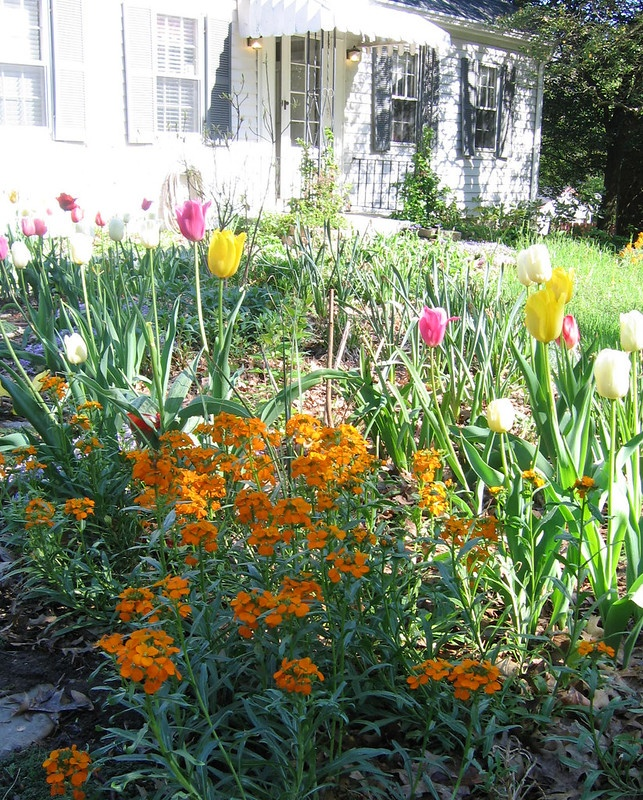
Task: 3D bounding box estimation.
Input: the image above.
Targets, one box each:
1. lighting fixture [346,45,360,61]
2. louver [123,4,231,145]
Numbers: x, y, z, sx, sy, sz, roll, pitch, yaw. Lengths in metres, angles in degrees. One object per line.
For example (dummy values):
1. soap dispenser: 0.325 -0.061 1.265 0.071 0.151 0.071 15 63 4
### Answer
1. lighting fixture: 0.559 -6.336 11.340 0.230 0.218 0.226 1 7 9
2. louver: -2.142 -4.815 9.273 0.491 2.009 1.872 16 21 35
